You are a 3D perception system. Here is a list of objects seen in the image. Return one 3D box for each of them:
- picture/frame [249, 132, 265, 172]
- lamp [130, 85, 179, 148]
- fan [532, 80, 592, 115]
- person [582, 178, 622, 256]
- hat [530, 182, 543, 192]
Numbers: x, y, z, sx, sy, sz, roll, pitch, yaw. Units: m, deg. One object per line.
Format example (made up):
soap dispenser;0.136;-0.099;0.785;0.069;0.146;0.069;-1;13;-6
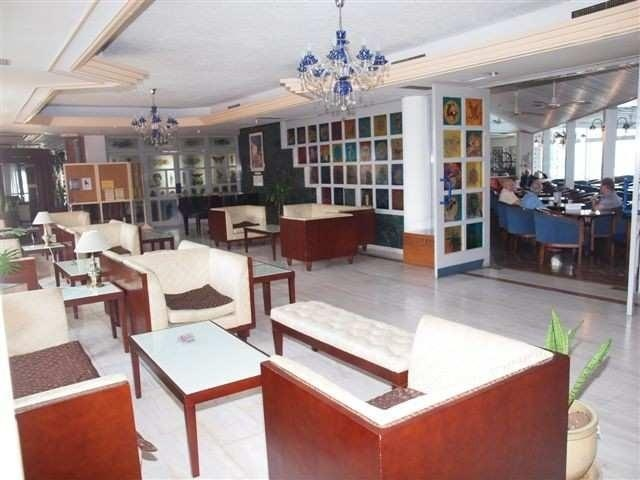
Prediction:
picture/frame;-1.920;-2.659;14.202;0.126;1.185;1.008;-11;11;-29
lamp;-3.605;-2.744;10.145;0.917;1.097;0.901;-2;9;-1
fan;6.473;-3.953;12.933;1.457;0.710;1.485;1;12;-13
person;5.070;-0.385;8.272;0.452;1.370;0.770;1;12;32
hat;4.221;-1.026;9.132;0.165;0.202;0.216;6;1;42
